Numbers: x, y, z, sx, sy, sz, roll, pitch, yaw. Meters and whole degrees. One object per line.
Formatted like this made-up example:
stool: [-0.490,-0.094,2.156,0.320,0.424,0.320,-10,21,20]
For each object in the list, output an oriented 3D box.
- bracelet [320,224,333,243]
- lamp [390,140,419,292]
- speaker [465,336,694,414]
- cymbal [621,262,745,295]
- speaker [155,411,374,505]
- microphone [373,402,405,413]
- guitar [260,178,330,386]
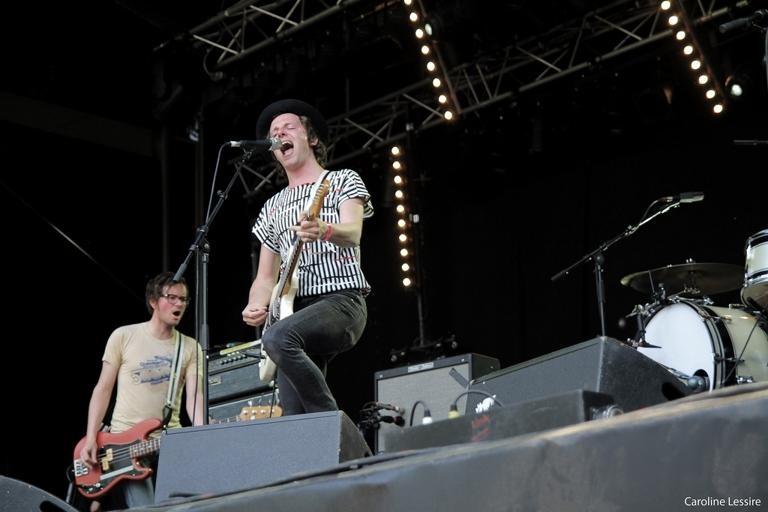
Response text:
bracelet: [-0.376,-0.162,6.431,0.053,0.100,0.094,-16,-19,39]
lamp: [0.204,-0.416,10.714,0.193,1.631,0.476,-1,-14,-13]
speaker: [1.189,0.769,5.909,1.221,0.435,0.493,-9,-16,14]
cymbal: [2.699,0.128,8.445,0.767,0.174,0.761,4,-22,-39]
speaker: [-0.754,1.159,5.678,0.864,0.296,0.674,-9,12,7]
microphone: [0.040,1.149,7.324,0.163,0.072,0.232,-7,-16,41]
guitar: [-0.650,0.097,6.618,0.616,1.412,0.521,-8,-15,15]
